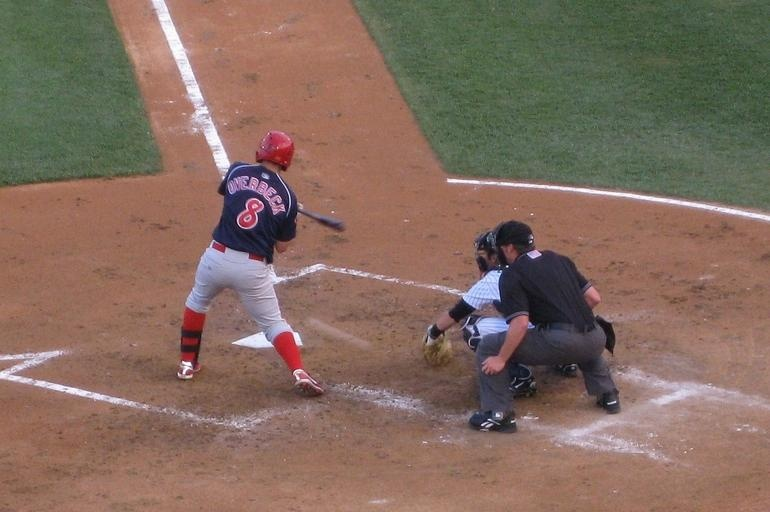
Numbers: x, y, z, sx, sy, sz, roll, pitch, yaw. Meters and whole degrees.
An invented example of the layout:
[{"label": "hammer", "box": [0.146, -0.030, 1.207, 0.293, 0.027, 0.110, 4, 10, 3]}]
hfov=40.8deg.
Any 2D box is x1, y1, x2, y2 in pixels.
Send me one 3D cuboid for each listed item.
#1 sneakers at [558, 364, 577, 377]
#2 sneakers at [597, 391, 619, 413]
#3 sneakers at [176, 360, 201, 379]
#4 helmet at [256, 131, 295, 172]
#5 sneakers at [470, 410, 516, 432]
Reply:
[{"label": "sneakers", "box": [2.060, 1.309, 11.760, 0.253, 0.086, 0.301, 1, 3, 8]}, {"label": "sneakers", "box": [2.416, 1.594, 11.215, 0.153, 0.115, 0.306, -9, 14, 3]}, {"label": "sneakers", "box": [-2.220, 1.288, 11.604, 0.161, 0.112, 0.289, 2, 12, 6]}, {"label": "helmet", "box": [-1.155, -1.199, 11.521, 0.419, 0.411, 0.496, 26, 15, -9]}, {"label": "sneakers", "box": [1.163, 1.790, 11.086, 0.549, 0.169, 0.198, 3, -20, 5]}]
